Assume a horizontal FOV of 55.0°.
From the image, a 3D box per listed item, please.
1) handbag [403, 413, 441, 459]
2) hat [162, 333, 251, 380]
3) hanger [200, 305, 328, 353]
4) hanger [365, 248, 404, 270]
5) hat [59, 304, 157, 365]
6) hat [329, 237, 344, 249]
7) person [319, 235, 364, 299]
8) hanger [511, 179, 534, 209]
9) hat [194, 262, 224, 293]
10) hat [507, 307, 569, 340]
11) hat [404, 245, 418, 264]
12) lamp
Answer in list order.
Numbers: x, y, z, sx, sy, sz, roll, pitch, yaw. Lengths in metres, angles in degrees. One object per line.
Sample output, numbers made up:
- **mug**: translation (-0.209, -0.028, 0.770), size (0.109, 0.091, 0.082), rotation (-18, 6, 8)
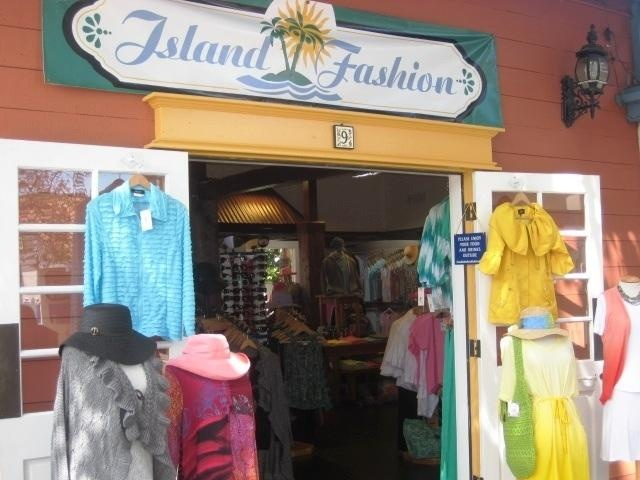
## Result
- **handbag**: translation (1.061, 2.079, 6.375), size (0.379, 0.405, 0.299), rotation (-3, -6, 7)
- **hat**: translation (-0.657, 0.623, 3.457), size (0.539, 0.201, 0.483), rotation (4, 0, 41)
- **hanger**: translation (-0.613, 0.958, 6.567), size (0.861, 0.379, 0.686), rotation (-1, 1, -22)
- **hanger**: translation (1.166, 0.381, 10.948), size (0.371, 0.167, 0.509), rotation (-5, 4, 28)
- **hat**: translation (-1.046, 0.439, 3.012), size (0.467, 0.254, 0.431), rotation (-2, 4, 36)
- **hat**: translation (0.281, 0.088, 10.019), size (0.161, 0.240, 0.144), rotation (1, 10, 28)
- **person**: translation (0.323, 0.417, 9.813), size (0.512, 0.929, 0.611), rotation (-3, -6, 9)
- **hanger**: translation (1.594, -0.365, 4.841), size (0.005, 0.248, 0.211), rotation (2, -6, -39)
- **hat**: translation (-1.253, 0.440, 6.952), size (0.391, 0.407, 0.335), rotation (0, -5, -24)
- **hat**: translation (1.454, 0.579, 4.098), size (0.269, 0.118, 0.251), rotation (-5, 0, 21)
- **hat**: translation (1.021, 0.161, 6.865), size (0.147, 0.227, 0.322), rotation (-3, -6, 9)
- **lamp**: translation (2.207, -1.376, 5.089), size (0.351, 0.761, 0.253), rotation (-2, -5, 43)
